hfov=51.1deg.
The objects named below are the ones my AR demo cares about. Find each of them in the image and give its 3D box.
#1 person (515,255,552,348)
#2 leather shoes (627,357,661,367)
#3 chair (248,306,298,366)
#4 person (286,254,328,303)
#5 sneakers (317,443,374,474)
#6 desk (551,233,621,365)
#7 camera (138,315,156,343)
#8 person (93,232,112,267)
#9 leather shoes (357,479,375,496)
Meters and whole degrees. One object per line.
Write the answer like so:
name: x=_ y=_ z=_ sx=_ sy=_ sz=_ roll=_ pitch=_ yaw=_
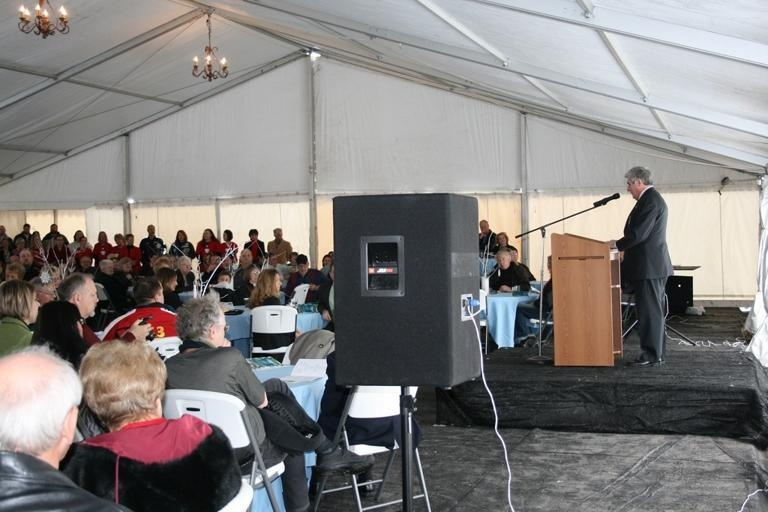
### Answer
person: x=1.992 y=0.601 z=10.368 sx=0.517 sy=1.198 sz=0.485 roll=7 pitch=3 yaw=13
leather shoes: x=2.741 y=1.118 z=8.443 sx=0.291 sy=0.153 sz=0.140 roll=1 pitch=-3 yaw=7
chair: x=-1.310 y=0.924 z=9.497 sx=0.527 sy=1.037 sz=0.681 roll=1 pitch=7 yaw=-5
person: x=-1.173 y=0.369 z=12.040 sx=0.565 sy=0.778 sz=0.441 roll=-10 pitch=7 yaw=-11
sneakers: x=-0.325 y=1.600 z=6.399 sx=0.467 sy=0.280 sz=0.183 roll=2 pitch=-3 yaw=-17
desk: x=2.123 y=0.425 z=8.563 sx=0.632 sy=1.326 sz=0.690 roll=0 pitch=-3 yaw=8
camera: x=-2.154 y=0.665 z=7.326 sx=0.160 sy=0.190 sz=0.053 roll=17 pitch=-21 yaw=0
person: x=-5.822 y=0.026 z=16.700 sx=0.389 sy=1.056 sz=0.277 roll=-2 pitch=5 yaw=-16
leather shoes: x=-0.142 y=1.973 z=6.816 sx=0.172 sy=0.209 sz=0.096 roll=1 pitch=0 yaw=-2
